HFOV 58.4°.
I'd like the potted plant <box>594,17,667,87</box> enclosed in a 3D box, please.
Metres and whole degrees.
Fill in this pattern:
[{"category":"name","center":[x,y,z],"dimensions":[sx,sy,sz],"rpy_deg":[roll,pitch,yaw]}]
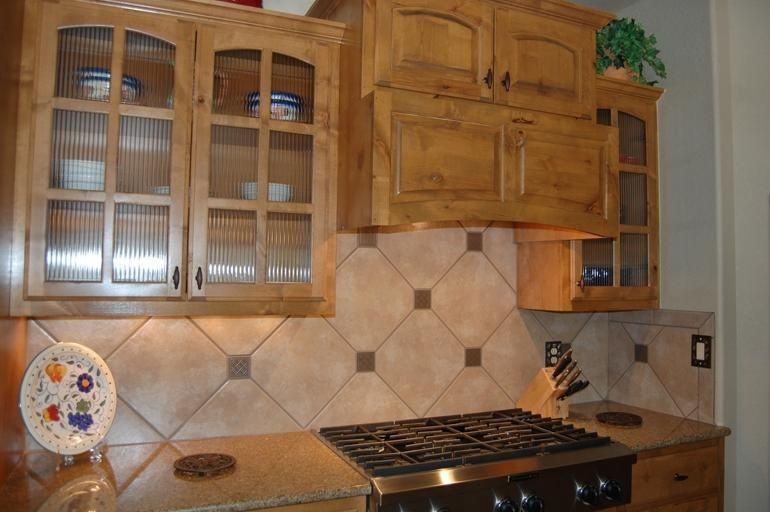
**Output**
[{"category":"potted plant","center":[1.418,-1.115,4.097],"dimensions":[0.458,0.470,0.247],"rpy_deg":[1,-8,6]}]

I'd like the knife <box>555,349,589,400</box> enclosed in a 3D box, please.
[{"category":"knife","center":[1.056,0.683,3.902],"dimensions":[0.151,0.323,0.177],"rpy_deg":[11,14,39]}]
